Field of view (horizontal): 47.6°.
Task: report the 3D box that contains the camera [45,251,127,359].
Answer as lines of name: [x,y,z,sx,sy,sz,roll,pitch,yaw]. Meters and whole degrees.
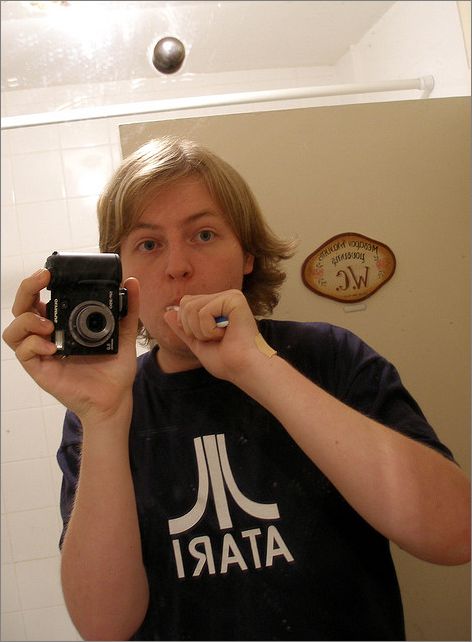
camera: [-0.220,-0.022,0.795,0.123,0.146,0.090,-3,1,-30]

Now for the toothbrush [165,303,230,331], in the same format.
toothbrush: [-0.064,-0.006,0.874,0.020,0.025,0.149,-12,14,-38]
